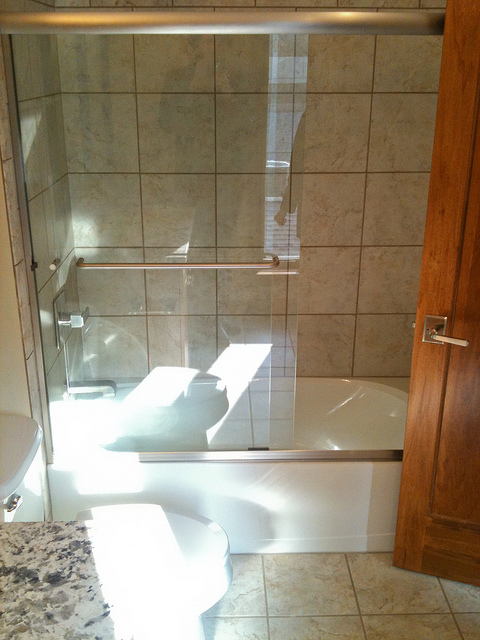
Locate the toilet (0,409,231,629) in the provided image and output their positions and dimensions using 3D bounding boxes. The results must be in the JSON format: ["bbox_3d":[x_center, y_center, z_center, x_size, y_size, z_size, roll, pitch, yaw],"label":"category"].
[{"bbox_3d":[-0.332,0.511,1.390,0.438,0.662,0.339,-3,19,-9],"label":"toilet"}]

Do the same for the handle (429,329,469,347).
[{"bbox_3d":[0.598,0.049,1.465,0.083,0.041,0.015,10,-20,41],"label":"handle"}]

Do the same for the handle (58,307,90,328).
[{"bbox_3d":[-0.522,-0.005,1.602,0.062,0.058,0.066,2,9,-1],"label":"handle"}]
